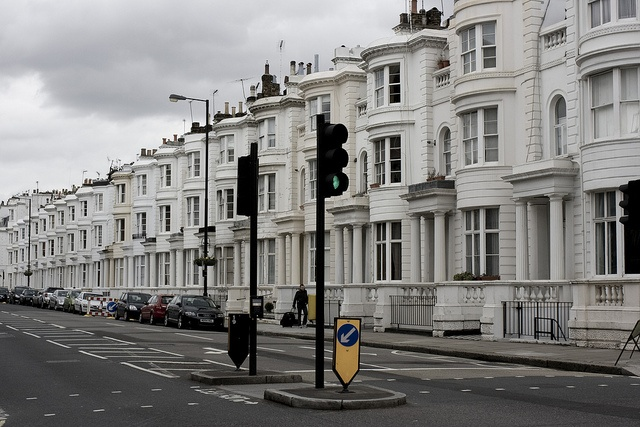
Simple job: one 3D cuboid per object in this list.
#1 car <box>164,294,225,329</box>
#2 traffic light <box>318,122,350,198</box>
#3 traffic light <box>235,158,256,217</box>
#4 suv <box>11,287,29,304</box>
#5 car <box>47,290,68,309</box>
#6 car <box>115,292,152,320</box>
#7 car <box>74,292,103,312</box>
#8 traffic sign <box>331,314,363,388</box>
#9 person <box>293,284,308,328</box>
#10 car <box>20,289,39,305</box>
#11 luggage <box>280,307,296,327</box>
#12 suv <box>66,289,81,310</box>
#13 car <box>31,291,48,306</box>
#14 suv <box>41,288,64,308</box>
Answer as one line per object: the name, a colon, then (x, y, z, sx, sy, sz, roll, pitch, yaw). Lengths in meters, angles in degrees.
car: (-6.468, 5.007, 56.682, 2.001, 1.769, 3.403, 5, -10, -32)
traffic light: (0.328, -1.722, 32.913, 0.865, 2.511, 0.472, 0, -9, -1)
traffic light: (-2.464, -0.810, 35.322, 0.602, 1.776, 0.408, 2, -5, -17)
suv: (-26.637, 7.107, 98.595, 1.375, 1.064, 2.854, 3, -9, -29)
car: (-19.735, 6.418, 83.697, 1.230, 0.969, 2.837, 3, -11, -26)
car: (-11.001, 5.403, 65.240, 1.332, 1.042, 2.344, 4, -11, -27)
car: (-15.733, 5.922, 74.897, 1.215, 0.927, 2.036, 3, -10, -27)
traffic sign: (0.731, 4.157, 33.049, 0.789, 2.126, 0.377, 0, -9, 1)
person: (-1.067, 4.693, 57.222, 0.671, 2.181, 1.251, 1, -9, -6)
car: (-24.669, 6.935, 94.042, 1.143, 0.797, 1.858, 3, -11, -32)
luggage: (-1.657, 5.329, 56.016, 0.838, 0.807, 0.608, 13, -17, -22)
suv: (-17.288, 6.097, 78.032, 1.252, 0.980, 2.004, 3, -10, -26)
car: (-22.598, 6.789, 90.214, 1.331, 1.124, 2.866, 2, -9, -28)
suv: (-21.313, 6.557, 87.684, 1.214, 1.028, 2.486, 2, -4, -18)
